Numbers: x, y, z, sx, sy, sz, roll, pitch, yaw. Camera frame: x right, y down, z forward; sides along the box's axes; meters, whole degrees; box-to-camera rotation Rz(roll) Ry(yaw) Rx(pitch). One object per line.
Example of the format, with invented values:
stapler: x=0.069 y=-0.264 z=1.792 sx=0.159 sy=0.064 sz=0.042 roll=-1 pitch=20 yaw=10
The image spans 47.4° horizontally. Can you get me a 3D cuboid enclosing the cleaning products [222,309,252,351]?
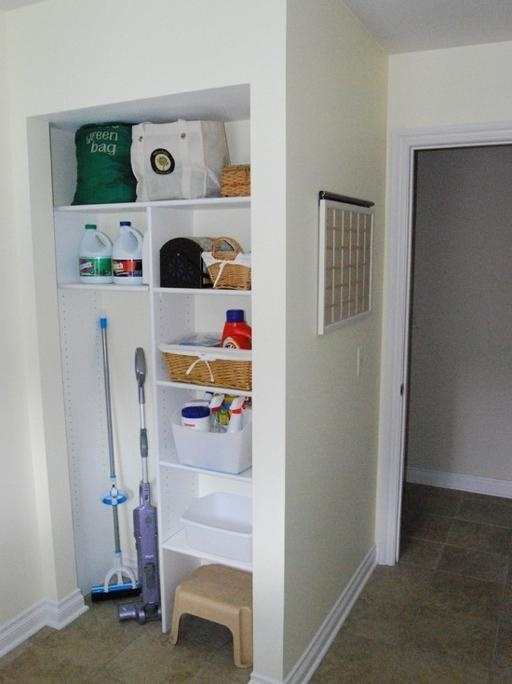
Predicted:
cleaning products: x=-0.067 y=-0.044 z=1.936 sx=0.090 sy=0.134 sz=0.127 roll=-7 pitch=17 yaw=-38

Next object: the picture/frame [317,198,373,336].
picture/frame: x=0.317 y=-0.272 z=2.040 sx=0.045 sy=0.438 sz=0.548 roll=4 pitch=10 yaw=25

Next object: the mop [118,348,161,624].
mop: x=-0.466 y=0.558 z=2.334 sx=0.179 sy=1.091 sz=0.223 roll=-3 pitch=-5 yaw=-4

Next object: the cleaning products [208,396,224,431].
cleaning products: x=-0.136 y=0.246 z=2.034 sx=0.049 sy=0.134 sz=0.078 roll=0 pitch=7 yaw=-4

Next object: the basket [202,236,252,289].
basket: x=-0.055 y=-0.252 z=1.869 sx=0.181 sy=0.158 sz=0.160 roll=5 pitch=11 yaw=38

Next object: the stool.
stool: x=-0.169 y=0.996 z=2.138 sx=0.306 sy=0.241 sz=0.338 roll=0 pitch=7 yaw=-3

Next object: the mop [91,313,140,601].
mop: x=-0.602 y=0.500 z=2.441 sx=0.258 sy=1.233 sz=0.131 roll=-1 pitch=6 yaw=-1

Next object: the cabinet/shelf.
cabinet/shelf: x=-0.327 y=0.245 z=2.208 sx=0.614 sy=1.788 sz=0.456 roll=8 pitch=13 yaw=32

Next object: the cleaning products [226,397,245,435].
cleaning products: x=-0.067 y=0.238 z=1.956 sx=0.052 sy=0.110 sz=0.099 roll=0 pitch=7 yaw=3
